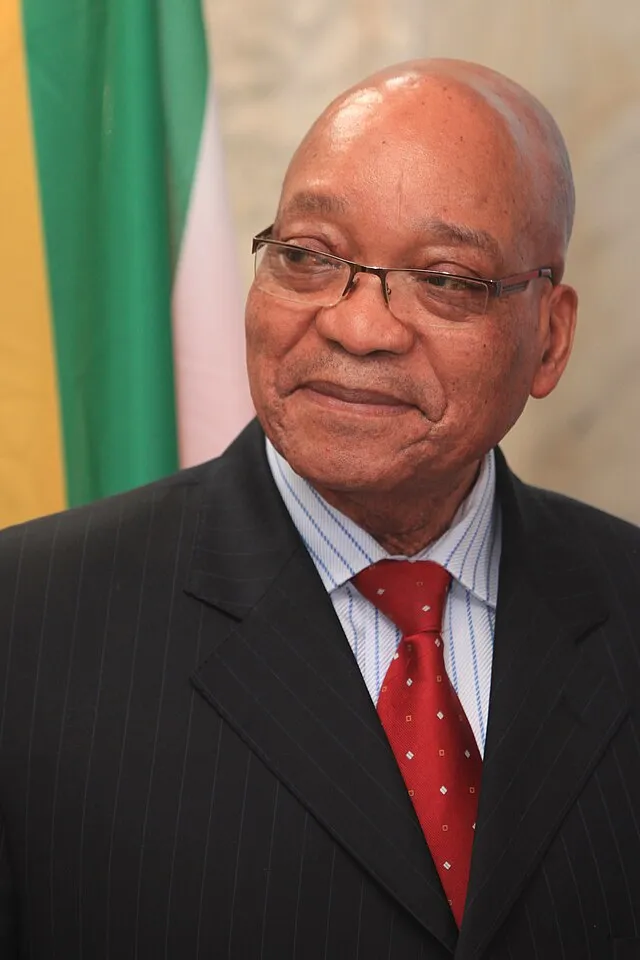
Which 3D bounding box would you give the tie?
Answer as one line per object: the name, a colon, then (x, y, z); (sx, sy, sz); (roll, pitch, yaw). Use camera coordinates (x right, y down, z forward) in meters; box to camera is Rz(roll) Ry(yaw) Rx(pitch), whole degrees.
tie: (0.152, 0.324, 1.333); (0.128, 0.053, 0.455); (2, 45, -4)
